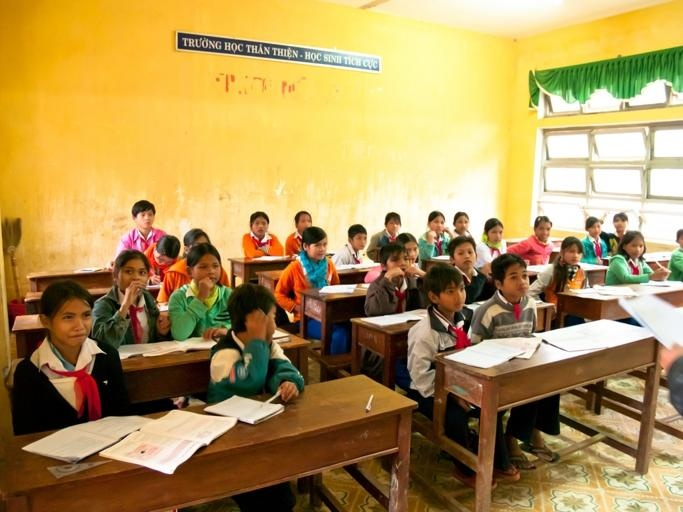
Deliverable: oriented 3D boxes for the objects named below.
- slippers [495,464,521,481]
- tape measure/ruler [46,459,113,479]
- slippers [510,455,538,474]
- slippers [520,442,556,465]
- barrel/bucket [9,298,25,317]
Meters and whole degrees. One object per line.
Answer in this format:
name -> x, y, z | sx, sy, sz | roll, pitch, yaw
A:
slippers -> 0.842, 1.094, 2.573 | 0.140, 0.054, 0.081 | -2, 4, -12
tape measure/ruler -> -0.819, 0.652, 1.559 | 0.095, 0.005, 0.058 | -4, 20, -37
slippers -> 0.949, 1.080, 2.645 | 0.059, 0.047, 0.113 | -4, 1, -32
slippers -> 1.081, 1.066, 2.760 | 0.067, 0.048, 0.170 | -7, 4, -32
barrel/bucket -> -3.116, 0.448, 4.836 | 0.143, 0.201, 0.192 | -4, 11, -34
